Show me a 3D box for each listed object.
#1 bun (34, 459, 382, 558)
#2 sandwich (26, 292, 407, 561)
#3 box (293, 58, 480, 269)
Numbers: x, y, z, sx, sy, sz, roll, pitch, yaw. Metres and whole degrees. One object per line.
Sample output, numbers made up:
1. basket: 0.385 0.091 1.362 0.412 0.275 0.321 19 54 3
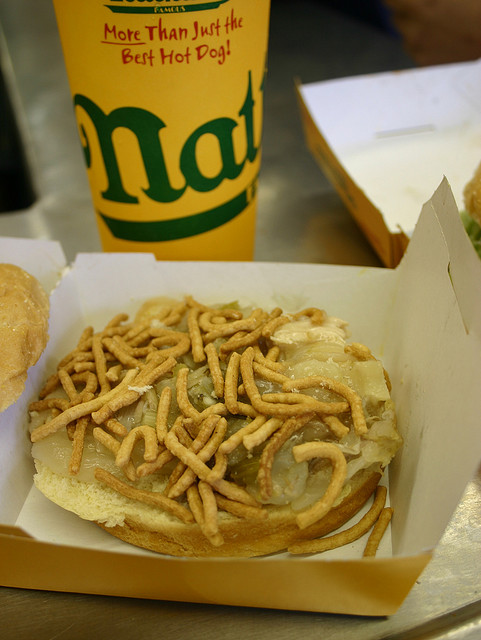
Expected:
1. bun: -0.061 0.282 0.834 0.561 0.113 0.134 1 48 3
2. sandwich: -0.061 0.177 0.859 0.491 0.170 0.407 2 39 7
3. box: 0.382 -0.373 1.517 0.489 0.590 0.354 -14 34 -23
